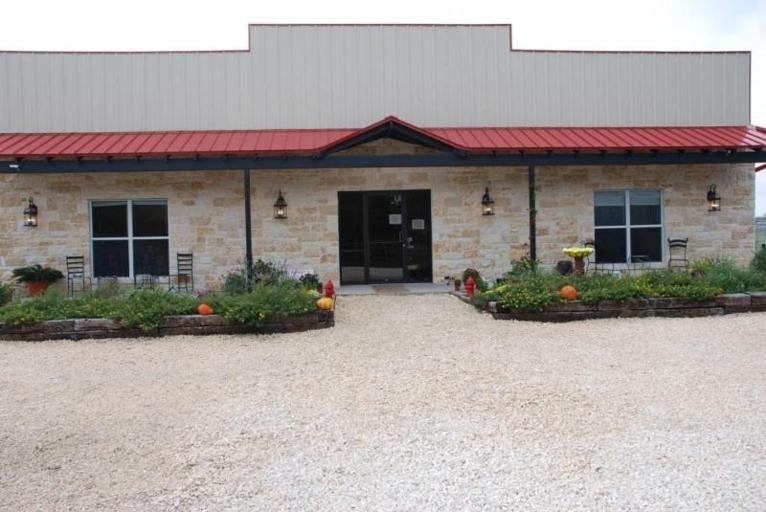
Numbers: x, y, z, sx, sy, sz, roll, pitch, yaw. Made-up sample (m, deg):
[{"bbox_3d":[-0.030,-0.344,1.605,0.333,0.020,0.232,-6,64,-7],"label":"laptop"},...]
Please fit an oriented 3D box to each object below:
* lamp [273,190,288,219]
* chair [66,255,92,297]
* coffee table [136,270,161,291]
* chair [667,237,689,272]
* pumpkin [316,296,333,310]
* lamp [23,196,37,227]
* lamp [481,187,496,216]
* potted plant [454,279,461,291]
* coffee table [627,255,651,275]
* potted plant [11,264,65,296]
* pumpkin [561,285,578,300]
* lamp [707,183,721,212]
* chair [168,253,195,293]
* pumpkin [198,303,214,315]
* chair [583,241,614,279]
[{"bbox_3d":[-2.461,-1.240,17.779,0.338,0.677,0.190,-1,-1,-8],"label":"lamp"},{"bbox_3d":[-7.208,0.428,17.560,0.576,0.921,0.326,-1,-1,-20],"label":"chair"},{"bbox_3d":[-5.586,0.583,17.559,0.611,0.552,0.590,-4,-5,44],"label":"coffee table"},{"bbox_3d":[7.224,-0.070,18.316,0.514,0.723,0.544,-1,0,21],"label":"chair"},{"bbox_3d":[-1.135,0.891,14.400,0.229,0.215,0.232,1,1,44],"label":"pumpkin"},{"bbox_3d":[-8.322,-1.025,17.475,0.336,0.699,0.208,-1,-1,9],"label":"lamp"},{"bbox_3d":[2.524,-1.334,18.094,0.311,0.521,0.252,-1,0,7],"label":"lamp"},{"bbox_3d":[1.698,0.666,17.239,0.098,0.203,0.287,-3,-36,8],"label":"potted plant"},{"bbox_3d":[6.267,0.204,18.349,0.557,0.429,0.416,-1,0,11],"label":"coffee table"},{"bbox_3d":[-8.001,0.455,17.221,0.831,0.594,0.835,2,1,-2],"label":"potted plant"},{"bbox_3d":[3.601,0.722,14.551,0.271,0.275,0.312,24,-3,36],"label":"pumpkin"},{"bbox_3d":[8.153,-1.440,18.369,0.359,0.636,0.221,-1,-1,-1],"label":"lamp"},{"bbox_3d":[-4.814,0.378,17.693,0.586,0.927,0.365,-1,-1,-12],"label":"chair"},{"bbox_3d":[-3.378,0.978,14.111,0.203,0.209,0.210,2,4,31],"label":"pumpkin"},{"bbox_3d":[5.198,0.019,18.241,0.530,0.708,0.899,-1,0,37],"label":"chair"}]
